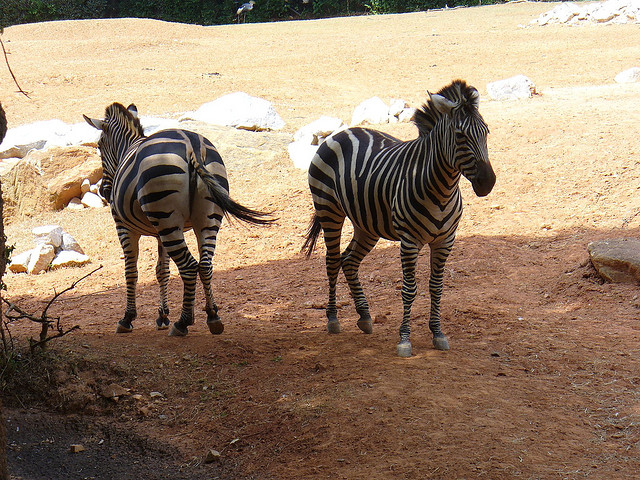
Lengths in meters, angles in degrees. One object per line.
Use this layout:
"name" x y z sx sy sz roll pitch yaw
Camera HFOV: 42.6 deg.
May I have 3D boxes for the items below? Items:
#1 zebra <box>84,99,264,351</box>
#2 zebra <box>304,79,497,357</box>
"zebra" -2.286 -0.334 12.087 2.008 3.339 4.583 -9 23 -13
"zebra" 1.028 -0.310 10.597 2.447 3.374 1.244 12 28 32
